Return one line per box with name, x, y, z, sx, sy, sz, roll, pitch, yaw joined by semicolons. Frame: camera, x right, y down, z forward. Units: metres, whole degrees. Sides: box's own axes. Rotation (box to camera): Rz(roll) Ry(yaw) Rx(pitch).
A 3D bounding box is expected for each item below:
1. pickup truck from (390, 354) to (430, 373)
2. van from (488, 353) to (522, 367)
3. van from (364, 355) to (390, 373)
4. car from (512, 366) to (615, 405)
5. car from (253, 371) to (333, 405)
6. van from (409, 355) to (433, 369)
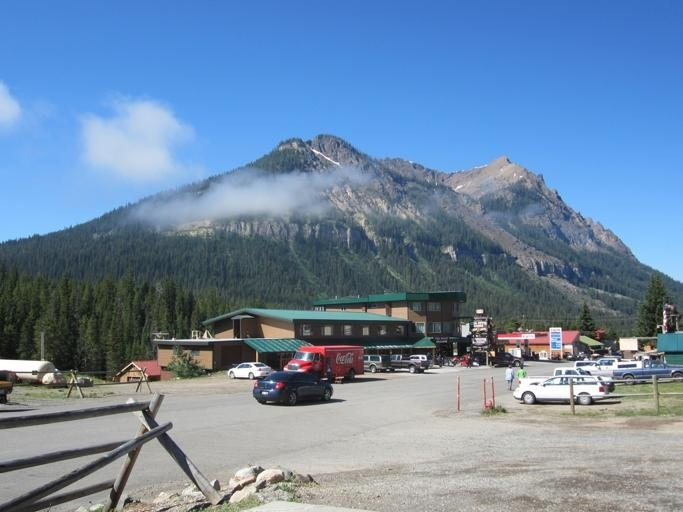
pickup truck;6.966;11.143;81.265;3.395;1.290;1.842;1;-1;42
van;20.599;13.021;98.885;3.634;2.068;4.039;-4;-11;10
van;3.428;10.920;79.767;1.414;1.276;2.478;2;0;-44
car;12.820;7.830;46.073;5.203;1.908;3.764;-4;-11;10
car;-2.676;7.735;45.861;1.837;1.885;5.286;-11;-14;41
van;8.386;10.975;81.630;1.522;1.439;2.625;-8;-12;30
